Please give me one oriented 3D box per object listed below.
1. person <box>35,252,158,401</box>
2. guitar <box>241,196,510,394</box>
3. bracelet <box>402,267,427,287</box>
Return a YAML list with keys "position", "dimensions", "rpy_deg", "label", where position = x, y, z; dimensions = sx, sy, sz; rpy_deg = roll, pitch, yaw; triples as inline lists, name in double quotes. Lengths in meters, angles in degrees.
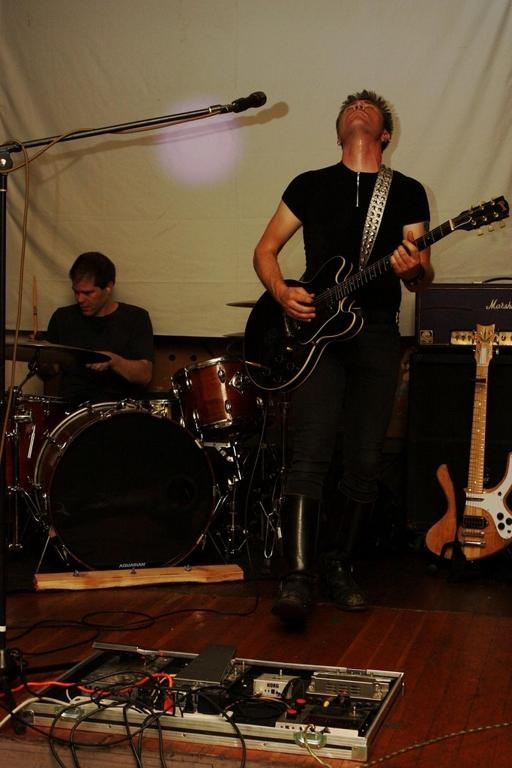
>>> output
- position: [-0.716, -0.167, 3.118]
  dimensions: [0.563, 0.744, 0.441]
  rpy_deg: [7, 12, 13]
  label: "person"
- position: [0.293, -0.188, 2.137]
  dimensions: [1.008, 0.379, 0.120]
  rpy_deg: [-31, -23, 25]
  label: "guitar"
- position: [0.432, -0.286, 1.969]
  dimensions: [0.034, 0.048, 0.072]
  rpy_deg: [-17, 9, -38]
  label: "bracelet"
